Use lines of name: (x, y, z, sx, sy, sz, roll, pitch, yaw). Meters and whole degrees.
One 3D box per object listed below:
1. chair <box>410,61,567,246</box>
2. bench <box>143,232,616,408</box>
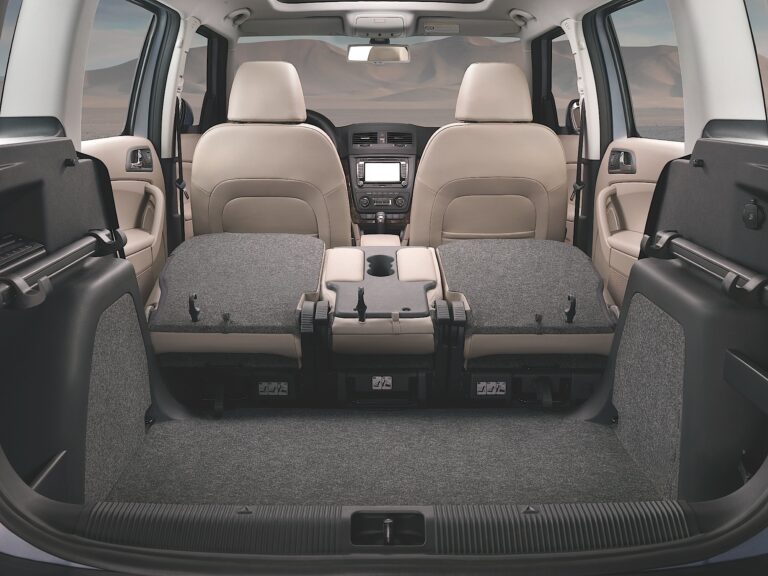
chair: (0.571, -0.842, 3.661, 0.725, 1.167, 1.029, 0, 15, 2)
bench: (-0.015, 0.156, 2.698, 2.046, 0.649, 0.631, 0, 12, -2)
